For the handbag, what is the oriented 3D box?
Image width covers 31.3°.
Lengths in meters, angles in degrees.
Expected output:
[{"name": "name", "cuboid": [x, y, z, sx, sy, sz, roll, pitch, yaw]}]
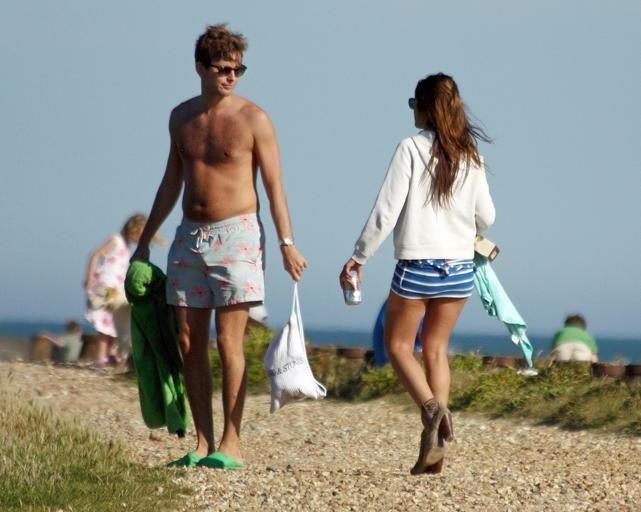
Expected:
[{"name": "handbag", "cuboid": [-0.226, 0.768, 8.937, 0.520, 0.862, 0.292, -8, -18, 3]}]

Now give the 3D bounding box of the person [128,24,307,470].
[{"name": "person", "cuboid": [-0.808, -0.100, 8.767, 1.143, 3.329, 0.715, 5, 5, 40]}]

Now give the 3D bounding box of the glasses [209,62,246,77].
[{"name": "glasses", "cuboid": [-0.699, -1.407, 8.689, 0.279, 0.087, 0.129, 3, 5, 16]}]

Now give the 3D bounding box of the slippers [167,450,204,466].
[{"name": "slippers", "cuboid": [-0.995, 1.546, 8.644, 0.294, 0.143, 0.111, 3, -4, 1]}]

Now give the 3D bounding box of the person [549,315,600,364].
[{"name": "person", "cuboid": [2.985, 0.955, 13.434, 0.522, 0.434, 0.786, 3, 5, 13]}]

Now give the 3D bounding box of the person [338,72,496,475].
[{"name": "person", "cuboid": [0.809, 0.139, 8.745, 1.033, 3.059, 0.647, 1, 4, 1]}]

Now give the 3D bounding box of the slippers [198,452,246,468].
[{"name": "slippers", "cuboid": [-0.744, 1.545, 8.557, 0.226, 0.089, 0.140, 11, -11, -17]}]

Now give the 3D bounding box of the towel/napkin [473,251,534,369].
[{"name": "towel/napkin", "cuboid": [1.459, 0.436, 9.181, 0.261, 1.256, 0.273, -23, -44, 9]}]
